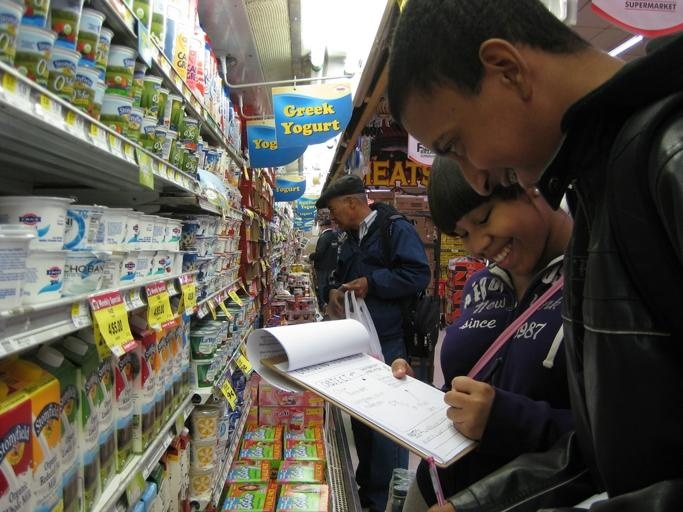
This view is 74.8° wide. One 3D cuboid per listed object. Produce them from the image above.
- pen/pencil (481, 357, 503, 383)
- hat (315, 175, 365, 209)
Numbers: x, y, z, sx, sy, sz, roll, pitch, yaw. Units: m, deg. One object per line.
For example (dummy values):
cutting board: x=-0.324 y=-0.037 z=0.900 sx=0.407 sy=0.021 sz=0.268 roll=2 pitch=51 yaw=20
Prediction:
pen/pencil: x=0.498 y=0.380 z=1.478 sx=0.018 sy=0.026 sz=0.093 roll=22 pitch=-34 yaw=10
hat: x=-0.006 y=-0.505 z=3.620 sx=0.318 sy=0.165 sz=0.233 roll=-6 pitch=3 yaw=-2
